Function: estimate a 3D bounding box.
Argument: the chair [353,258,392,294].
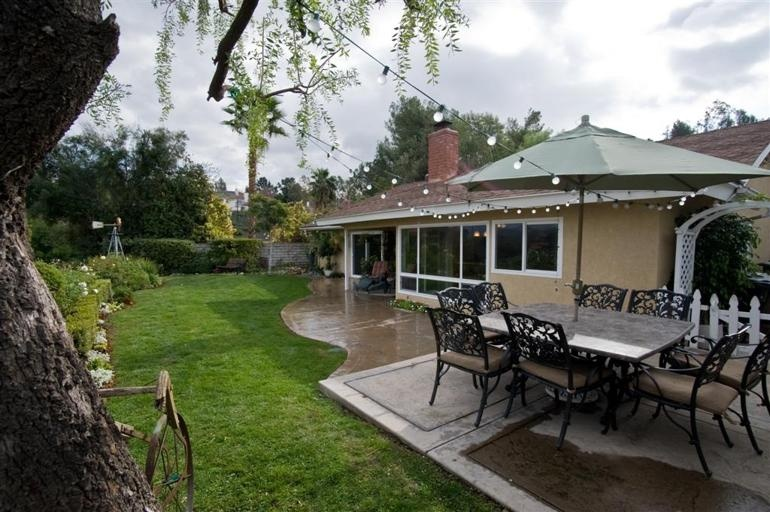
[{"bbox_3d":[-0.393,0.627,15.893,0.788,0.911,1.129,-2,-1,45],"label":"chair"}]
